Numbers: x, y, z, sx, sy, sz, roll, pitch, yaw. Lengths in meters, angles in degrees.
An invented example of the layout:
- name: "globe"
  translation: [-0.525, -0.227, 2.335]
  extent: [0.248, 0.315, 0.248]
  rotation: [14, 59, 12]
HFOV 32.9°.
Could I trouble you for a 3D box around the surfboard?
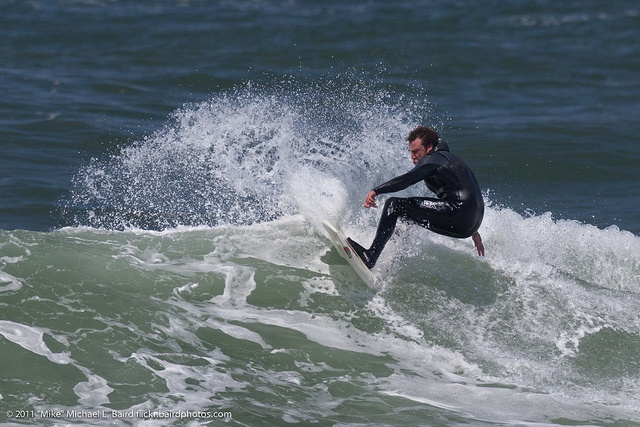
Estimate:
- name: "surfboard"
  translation: [0.604, 0.813, 20.242]
  extent: [0.356, 1.393, 0.857]
  rotation: [-42, 31, -4]
